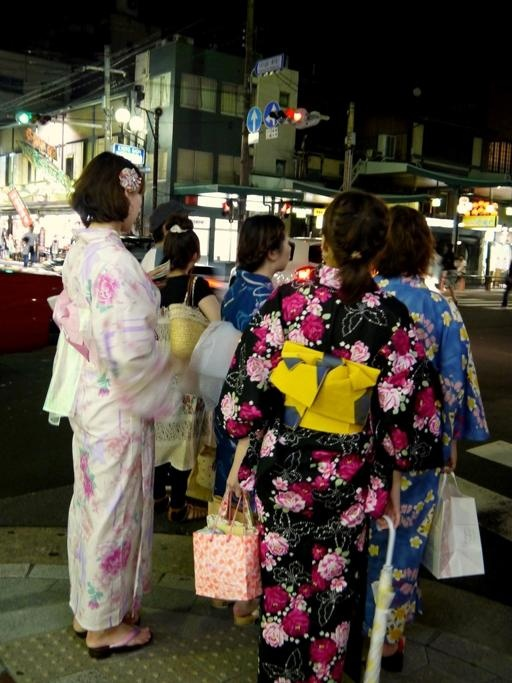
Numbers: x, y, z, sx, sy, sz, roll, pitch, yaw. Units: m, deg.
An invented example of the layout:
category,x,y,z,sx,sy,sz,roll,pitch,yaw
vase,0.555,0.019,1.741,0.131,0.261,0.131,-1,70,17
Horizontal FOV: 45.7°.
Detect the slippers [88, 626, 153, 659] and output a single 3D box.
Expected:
category,x,y,z,sx,sy,sz,roll,pitch,yaw
slippers,-0.533,1.207,2.456,0.256,0.088,0.060,-4,-27,-42
